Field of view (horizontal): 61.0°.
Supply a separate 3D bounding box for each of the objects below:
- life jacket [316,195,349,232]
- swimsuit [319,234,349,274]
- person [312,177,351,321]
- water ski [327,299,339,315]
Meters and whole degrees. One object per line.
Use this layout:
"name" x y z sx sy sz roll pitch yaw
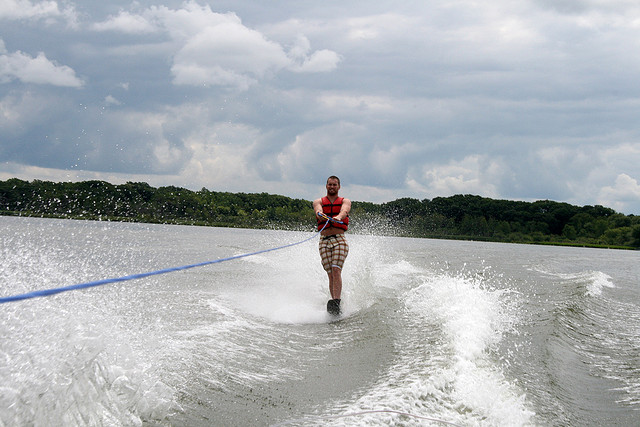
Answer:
"life jacket" 0.247 0.004 10.533 0.748 1.037 0.561 1 -12 0
"swimsuit" 0.264 0.756 10.268 0.534 0.683 0.532 -1 24 1
"person" 0.293 0.519 10.247 0.687 2.120 1.172 -3 24 -3
"water ski" 0.238 1.679 9.698 0.113 0.337 0.140 -10 -12 25
